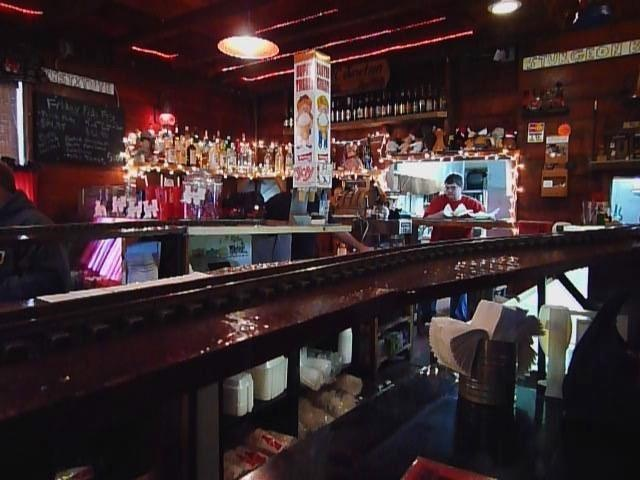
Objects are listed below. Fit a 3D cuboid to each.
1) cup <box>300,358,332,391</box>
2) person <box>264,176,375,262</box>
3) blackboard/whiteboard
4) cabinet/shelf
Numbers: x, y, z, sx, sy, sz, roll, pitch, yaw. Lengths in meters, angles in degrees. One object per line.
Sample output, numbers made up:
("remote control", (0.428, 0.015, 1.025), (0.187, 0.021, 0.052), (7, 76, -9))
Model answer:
("cup", (-0.026, 0.786, 3.143), (0.150, 0.114, 0.155), (-1, 8, 0))
("person", (-0.133, -0.420, 5.324), (0.973, 0.786, 0.752), (5, -15, -6))
("blackboard/whiteboard", (-2.877, -1.302, 6.194), (0.115, 0.740, 0.894), (4, 5, 34))
("cabinet/shelf", (1.234, -1.343, 7.031), (2.763, 0.617, 0.483), (5, 9, 38))
